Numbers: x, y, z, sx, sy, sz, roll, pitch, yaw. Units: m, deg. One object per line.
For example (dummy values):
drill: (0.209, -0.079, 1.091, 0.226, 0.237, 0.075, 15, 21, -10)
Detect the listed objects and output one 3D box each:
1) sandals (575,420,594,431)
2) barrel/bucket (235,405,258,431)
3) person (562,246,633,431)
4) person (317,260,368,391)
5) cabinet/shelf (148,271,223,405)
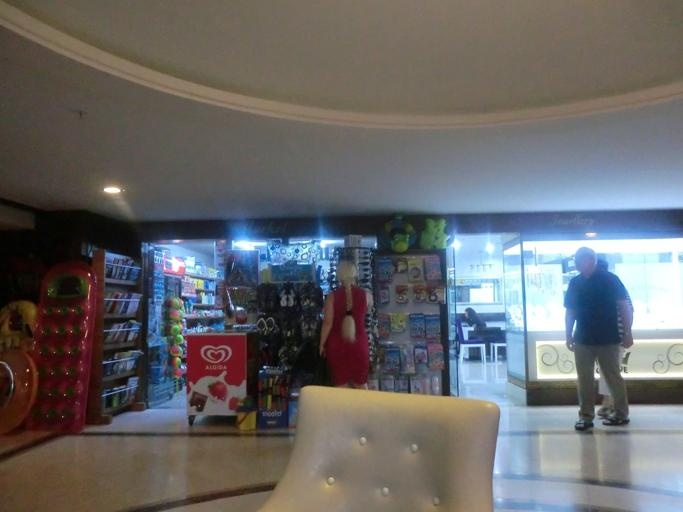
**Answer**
sandals: (2.718, 1.894, 5.810, 0.227, 0.103, 0.096, 11, -13, -29)
barrel/bucket: (-1.127, 1.935, 6.172, 0.252, 0.232, 0.219, 0, -2, 3)
person: (2.899, 0.915, 5.860, 0.674, 2.026, 0.375, -1, -3, 14)
person: (0.057, 0.930, 5.647, 0.580, 1.767, 0.565, -1, 4, -10)
cabinet/shelf: (-2.307, 1.213, 7.497, 0.532, 1.690, 1.747, 1, -6, 8)
